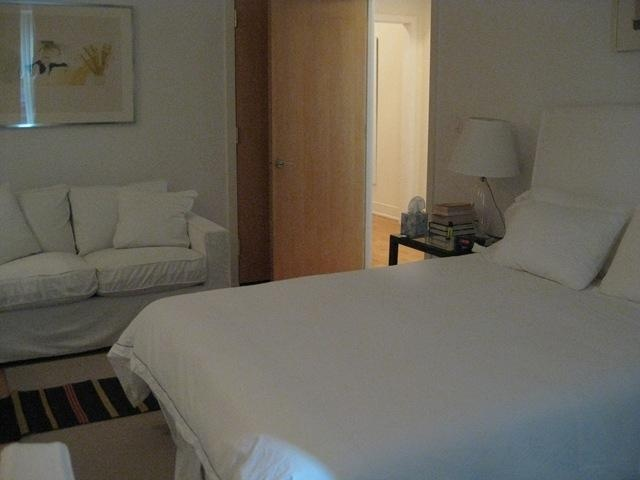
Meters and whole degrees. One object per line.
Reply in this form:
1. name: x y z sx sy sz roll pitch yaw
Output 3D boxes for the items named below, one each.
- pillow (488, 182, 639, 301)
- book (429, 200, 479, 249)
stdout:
1. pillow: 0.696 0.025 1.666 0.092 0.310 0.334 20 4 -43
2. book: 0.643 -0.068 2.562 0.192 0.232 0.225 0 2 -31
